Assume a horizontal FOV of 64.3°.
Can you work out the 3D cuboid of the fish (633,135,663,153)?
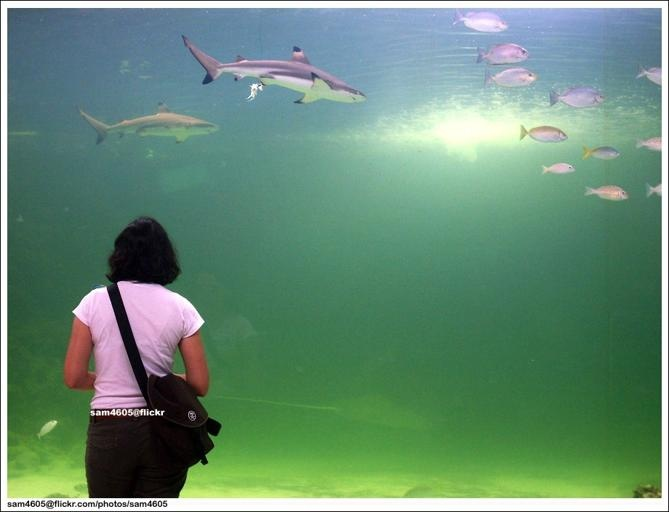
[{"bbox_3d":[3.521,-1.237,5.958,0.247,0.193,0.341,-5,-14,31],"label":"fish"}]

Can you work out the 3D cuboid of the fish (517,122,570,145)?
[{"bbox_3d":[2.249,-1.324,5.780,0.461,0.175,0.224,0,-12,9],"label":"fish"}]

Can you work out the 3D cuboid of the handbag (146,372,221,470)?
[{"bbox_3d":[-1.161,1.213,4.019,0.444,0.708,0.638,-11,-6,-10],"label":"handbag"}]

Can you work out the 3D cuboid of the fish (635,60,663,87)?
[{"bbox_3d":[3.483,-1.988,5.819,0.291,0.192,0.174,4,-12,-8],"label":"fish"}]

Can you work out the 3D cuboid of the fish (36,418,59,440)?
[{"bbox_3d":[-3.101,1.866,5.706,0.233,0.068,0.121,-31,40,-14],"label":"fish"}]

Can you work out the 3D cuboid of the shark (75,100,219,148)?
[{"bbox_3d":[-2.037,-1.477,5.836,1.363,0.359,0.344,-2,1,-3],"label":"shark"}]

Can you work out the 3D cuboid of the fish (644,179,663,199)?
[{"bbox_3d":[3.568,-0.755,5.950,0.150,0.191,0.261,-4,-14,28],"label":"fish"}]

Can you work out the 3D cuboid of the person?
[{"bbox_3d":[-1.512,1.197,4.153,1.001,2.829,0.818,1,2,-15],"label":"person"}]
